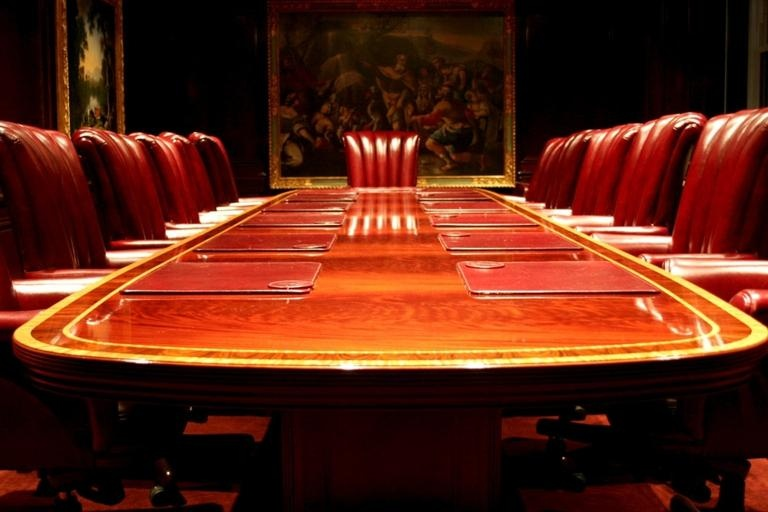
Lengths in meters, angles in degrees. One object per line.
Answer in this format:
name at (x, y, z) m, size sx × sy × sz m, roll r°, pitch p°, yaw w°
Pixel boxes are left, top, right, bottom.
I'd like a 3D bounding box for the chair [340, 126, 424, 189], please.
chair at (-0.010, -0.891, 5.075) m, size 0.565 × 0.695 × 0.615 m, roll 0°, pitch 5°, yaw -2°
